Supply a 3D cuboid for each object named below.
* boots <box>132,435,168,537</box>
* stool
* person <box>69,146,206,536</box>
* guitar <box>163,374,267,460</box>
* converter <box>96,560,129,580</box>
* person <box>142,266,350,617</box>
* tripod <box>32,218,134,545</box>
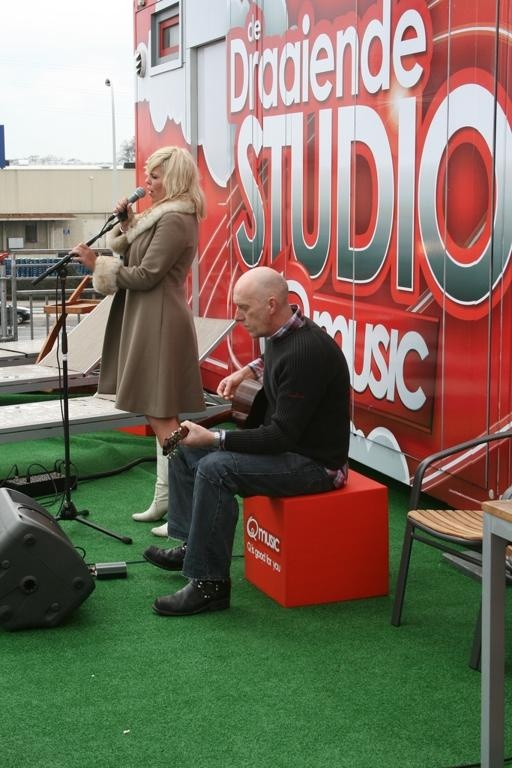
[{"bbox_3d":[-0.530,0.605,3.333,0.195,0.579,0.234,-4,14,-30],"label":"boots"},{"bbox_3d":[0.237,0.534,2.538,0.418,0.476,0.453,-3,7,-21],"label":"stool"},{"bbox_3d":[-0.555,-0.229,3.115,0.494,1.812,0.517,3,6,15],"label":"person"},{"bbox_3d":[-0.170,0.100,2.433,0.278,0.362,0.309,-6,13,-34],"label":"guitar"},{"bbox_3d":[-0.621,0.787,2.670,0.110,0.043,0.067,-1,10,-14],"label":"converter"},{"bbox_3d":[-0.002,0.216,2.294,0.674,1.274,0.431,-1,-2,8],"label":"person"},{"bbox_3d":[-0.907,0.138,3.346,0.439,2.001,0.558,-1,12,-24],"label":"tripod"}]
